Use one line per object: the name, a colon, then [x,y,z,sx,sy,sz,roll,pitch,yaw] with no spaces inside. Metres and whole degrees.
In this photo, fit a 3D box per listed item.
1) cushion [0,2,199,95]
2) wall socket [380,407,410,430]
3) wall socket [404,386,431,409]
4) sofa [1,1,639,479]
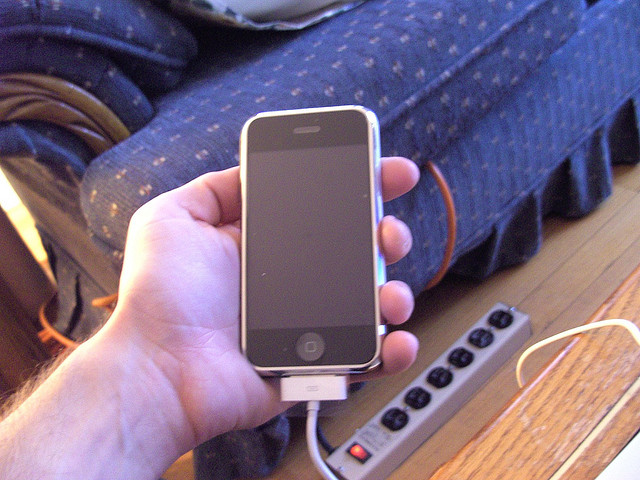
cushion: [-0.345,-0.335,0.961,0.170,0.065,0.179,27,37,5]
wall socket: [0.124,0.293,0.986,0.042,0.005,0.039,-37,54,-18]
wall socket: [0.166,0.265,1.003,0.030,0.008,0.034,31,62,29]
sofa: [0.100,0.036,1.437,1.471,0.722,0.752,-44,54,-11]
